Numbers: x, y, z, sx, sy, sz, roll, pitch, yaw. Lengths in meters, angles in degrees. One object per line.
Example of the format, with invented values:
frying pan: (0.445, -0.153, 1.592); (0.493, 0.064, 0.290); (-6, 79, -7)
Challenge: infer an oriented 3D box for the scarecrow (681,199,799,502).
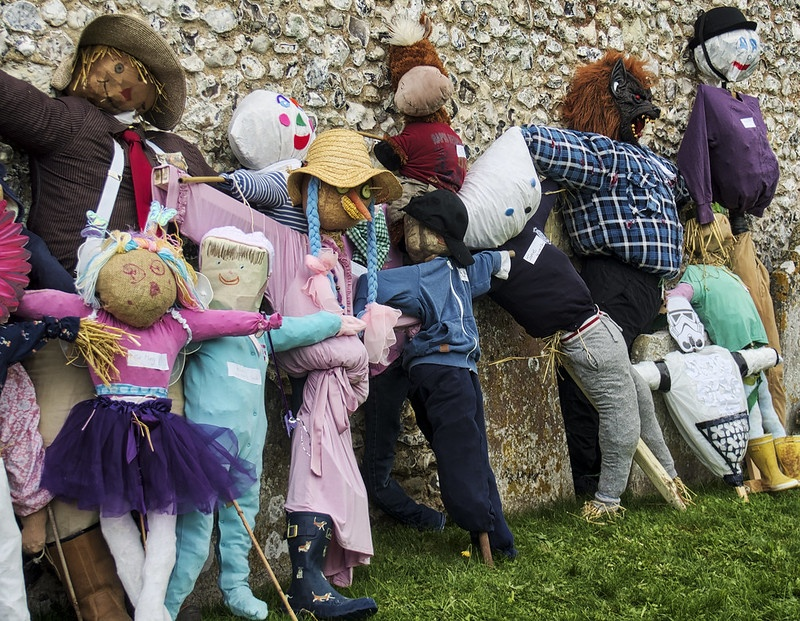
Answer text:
scarecrow: (2.150, 0.195, 5.555); (0.973, 1.582, 0.294); (5, -22, -44)

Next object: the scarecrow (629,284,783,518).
scarecrow: (1.864, 0.498, 5.266); (0.881, 1.141, 0.247); (-16, -11, -33)

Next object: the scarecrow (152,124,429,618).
scarecrow: (-0.529, 0.257, 3.892); (0.666, 2.227, 1.789); (-5, -10, 34)
